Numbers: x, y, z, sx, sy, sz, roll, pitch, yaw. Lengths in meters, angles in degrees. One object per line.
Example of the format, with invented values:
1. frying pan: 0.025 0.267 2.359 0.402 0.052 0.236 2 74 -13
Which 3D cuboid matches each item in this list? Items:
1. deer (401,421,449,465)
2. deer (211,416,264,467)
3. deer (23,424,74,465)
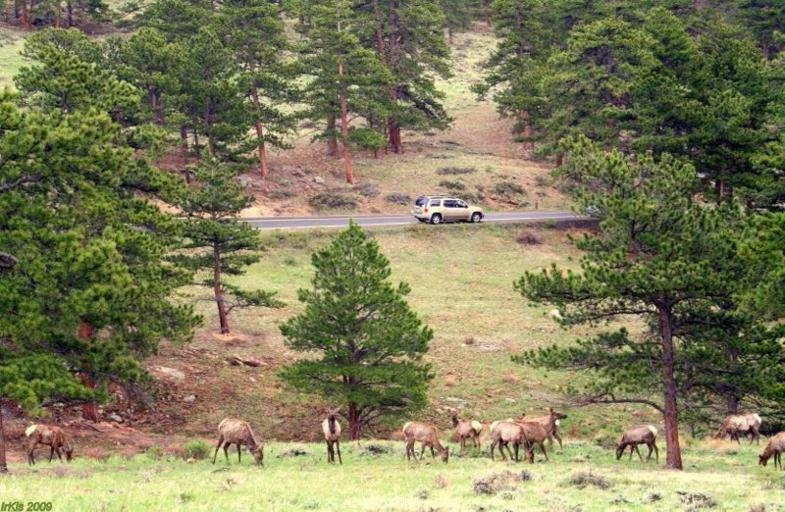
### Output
1. deer: 2.270 14.946 153.347 4.454 2.827 1.248 15 7 25
2. deer: -12.801 15.111 155.068 4.096 3.866 5.240 -2 -6 -6
3. deer: -27.657 15.185 153.331 3.800 3.106 1.117 9 2 -18
